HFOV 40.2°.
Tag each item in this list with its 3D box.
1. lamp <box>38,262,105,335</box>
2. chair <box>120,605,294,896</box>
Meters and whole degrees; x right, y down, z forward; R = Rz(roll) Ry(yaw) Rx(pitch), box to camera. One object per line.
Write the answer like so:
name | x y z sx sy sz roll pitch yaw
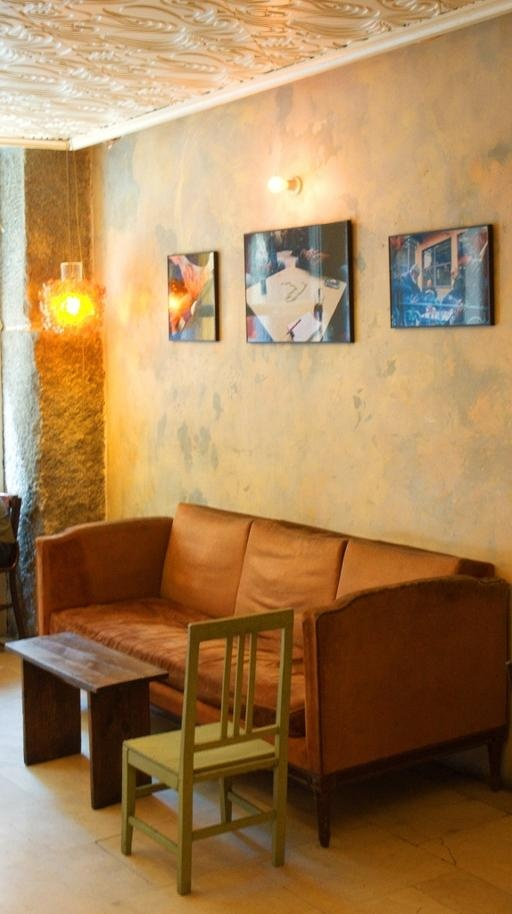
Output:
lamp | -1.022 -0.911 4.181 0.312 0.462 0.410 5 5 38
chair | -0.124 0.733 1.885 0.349 0.778 0.384 8 8 38
